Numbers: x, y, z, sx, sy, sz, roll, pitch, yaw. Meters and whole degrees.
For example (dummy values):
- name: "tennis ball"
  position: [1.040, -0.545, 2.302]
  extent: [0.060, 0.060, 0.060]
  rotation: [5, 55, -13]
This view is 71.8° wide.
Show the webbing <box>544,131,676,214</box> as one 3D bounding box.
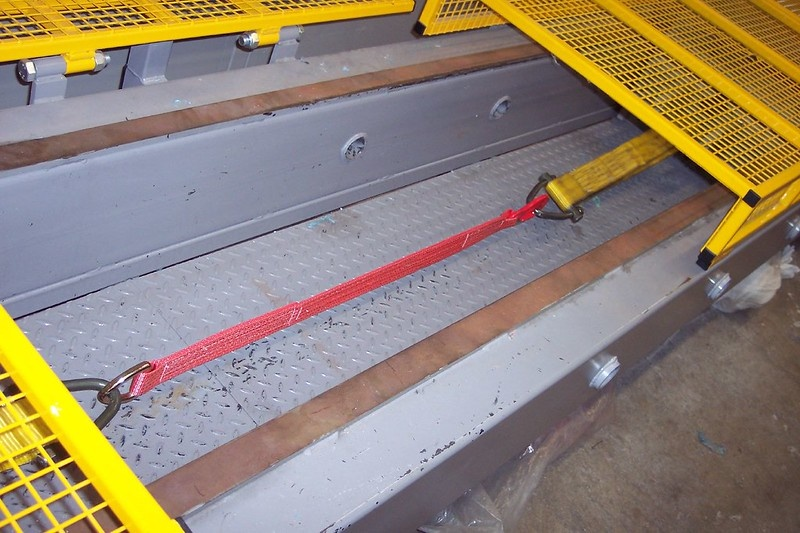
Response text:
- name: "webbing"
  position: [1.181, -0.516, 3.116]
  extent: [0.910, 0.101, 0.245]
  rotation: [-30, 77, -19]

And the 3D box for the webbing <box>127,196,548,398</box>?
- name: "webbing"
  position: [-0.249, 0.104, 2.318]
  extent: [2.032, 0.174, 0.293]
  rotation: [-22, 93, -4]
